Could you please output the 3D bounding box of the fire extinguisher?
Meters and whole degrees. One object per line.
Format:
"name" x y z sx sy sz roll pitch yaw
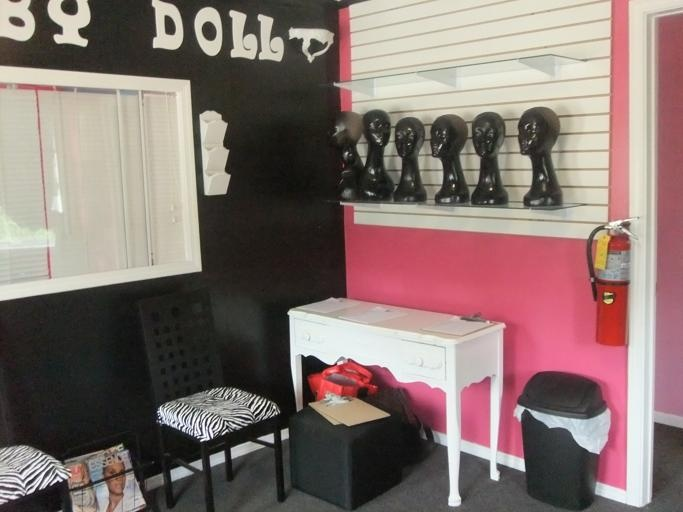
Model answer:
"fire extinguisher" 1.501 0.141 3.156 0.236 0.699 0.180 3 14 22

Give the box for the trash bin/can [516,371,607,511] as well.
"trash bin/can" 1.291 1.088 3.301 0.479 0.717 0.302 7 16 34

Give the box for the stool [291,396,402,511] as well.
"stool" 0.041 1.186 3.558 0.566 0.504 0.572 1 2 44

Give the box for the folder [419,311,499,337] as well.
"folder" 0.715 0.422 3.422 0.447 0.037 0.303 -14 18 -43

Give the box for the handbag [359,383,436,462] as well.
"handbag" 0.411 1.154 3.945 0.452 0.315 0.463 0 5 36

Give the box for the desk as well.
"desk" 0.372 0.947 3.557 1.103 0.826 0.477 7 11 43
